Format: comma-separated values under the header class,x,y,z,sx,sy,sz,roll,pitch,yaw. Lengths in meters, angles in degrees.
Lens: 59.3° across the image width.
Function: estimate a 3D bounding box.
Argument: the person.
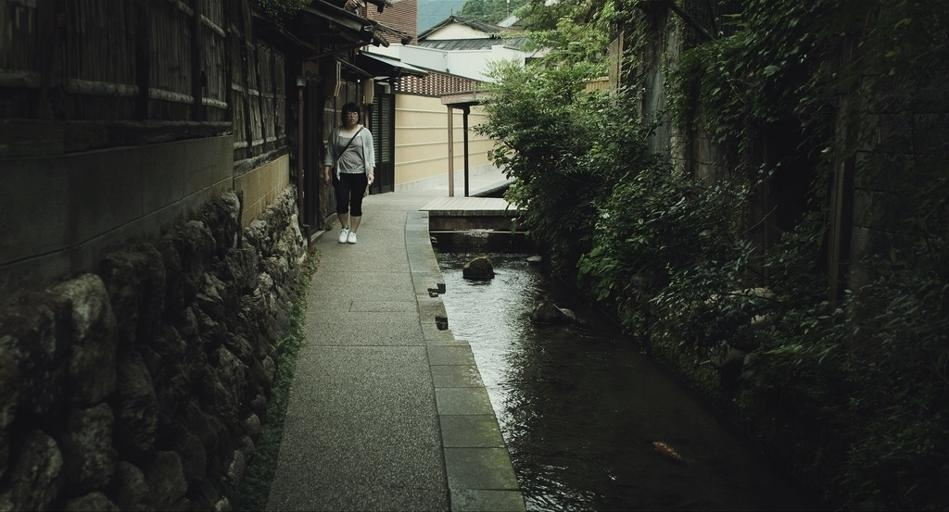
class,x,y,z,sx,sy,sz,roll,pitch,yaw
person,-2.104,-1.383,14.300,0.866,2.468,0.739,4,13,8
